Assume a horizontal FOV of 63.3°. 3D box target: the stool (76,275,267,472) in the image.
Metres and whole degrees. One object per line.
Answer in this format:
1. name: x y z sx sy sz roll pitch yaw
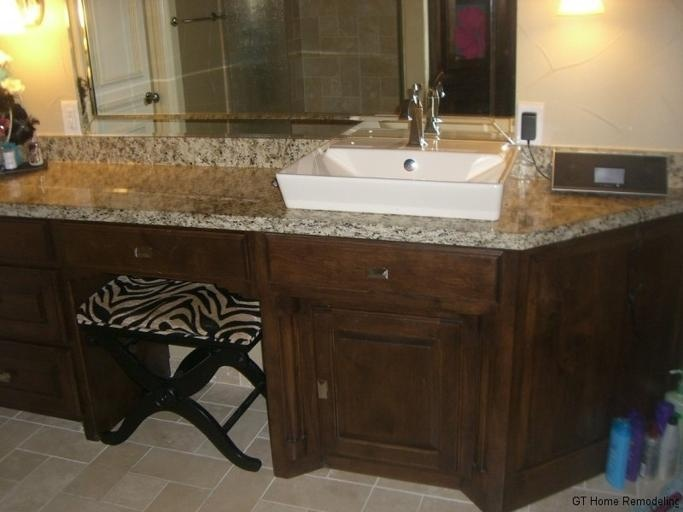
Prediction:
1. stool: -0.589 0.424 2.126 0.726 0.657 0.298 2 20 14

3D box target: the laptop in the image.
1. laptop: 0.854 -0.263 1.777 0.331 0.127 0.074 3 21 17

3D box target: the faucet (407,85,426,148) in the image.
1. faucet: 0.267 -0.503 1.975 0.064 0.207 0.199 -1 20 7

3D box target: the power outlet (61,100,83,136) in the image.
1. power outlet: -1.192 -0.609 2.431 0.088 0.144 0.010 14 19 43

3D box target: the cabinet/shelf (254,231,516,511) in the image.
1. cabinet/shelf: 0.160 0.352 1.777 0.784 0.877 0.480 5 23 15

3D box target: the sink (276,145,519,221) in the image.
1. sink: 0.189 -0.251 1.797 0.693 0.182 0.410 3 20 16
